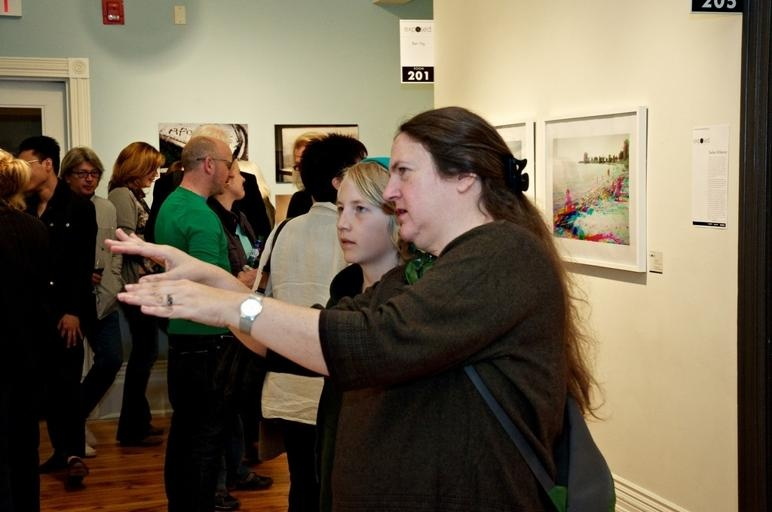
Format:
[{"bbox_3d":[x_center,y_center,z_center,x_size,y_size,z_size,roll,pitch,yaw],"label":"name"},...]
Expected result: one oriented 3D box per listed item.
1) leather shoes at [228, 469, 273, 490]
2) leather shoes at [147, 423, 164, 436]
[{"bbox_3d":[-0.989,1.671,4.053,0.318,0.141,0.125,-1,13,-11],"label":"leather shoes"},{"bbox_3d":[-2.089,1.571,4.951,0.209,0.094,0.076,1,7,10],"label":"leather shoes"}]
